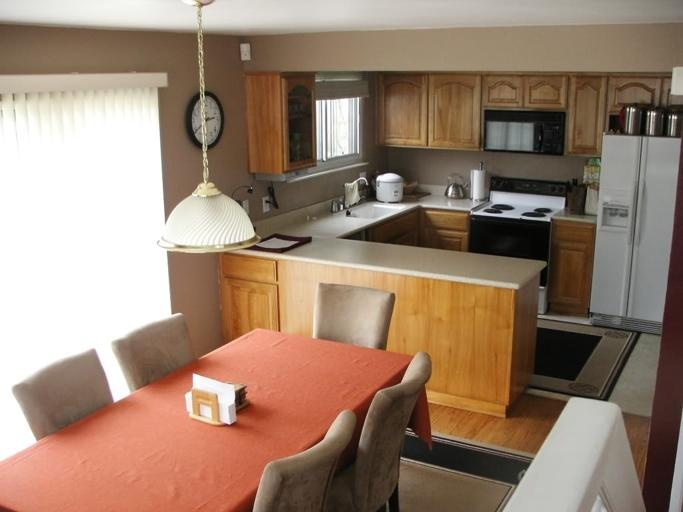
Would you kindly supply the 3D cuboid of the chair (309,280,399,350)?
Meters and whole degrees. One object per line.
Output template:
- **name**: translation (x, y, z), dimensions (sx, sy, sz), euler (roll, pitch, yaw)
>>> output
- **chair**: translation (0.097, 0.337, 3.695), dimensions (0.401, 0.779, 0.453), euler (6, 4, 21)

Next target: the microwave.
- **microwave**: translation (1.959, -1.342, 5.662), dimensions (0.880, 0.345, 0.156), euler (13, 8, 29)

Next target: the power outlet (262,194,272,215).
- **power outlet**: translation (-0.726, -0.512, 5.130), dimensions (0.021, 0.238, 0.169), euler (5, 8, 39)

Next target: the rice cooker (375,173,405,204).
- **rice cooker**: translation (0.575, -0.794, 6.223), dimensions (0.305, 0.335, 0.327), euler (0, 2, 0)

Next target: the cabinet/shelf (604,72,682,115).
- **cabinet/shelf**: translation (2.838, -1.444, 5.076), dimensions (0.520, 0.478, 0.297), euler (3, 8, 29)

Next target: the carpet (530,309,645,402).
- **carpet**: translation (2.171, 0.905, 4.828), dimensions (0.893, 0.532, 1.528), euler (13, 7, 30)

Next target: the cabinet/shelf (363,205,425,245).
- **cabinet/shelf**: translation (0.609, -0.292, 5.759), dimensions (0.371, 0.508, 0.725), euler (3, 12, 23)

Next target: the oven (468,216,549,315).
- **oven**: translation (1.990, -0.002, 6.084), dimensions (0.841, 1.209, 0.794), euler (6, 24, 24)

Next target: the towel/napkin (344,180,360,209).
- **towel/napkin**: translation (0.130, -0.715, 6.078), dimensions (0.217, 0.325, 0.190), euler (7, 6, -12)

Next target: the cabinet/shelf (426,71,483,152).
- **cabinet/shelf**: translation (1.273, -1.629, 5.952), dimensions (0.657, 0.523, 0.219), euler (12, 7, 27)

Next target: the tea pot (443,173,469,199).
- **tea pot**: translation (1.419, -0.858, 6.496), dimensions (0.305, 0.311, 0.253), euler (-1, 4, 0)
